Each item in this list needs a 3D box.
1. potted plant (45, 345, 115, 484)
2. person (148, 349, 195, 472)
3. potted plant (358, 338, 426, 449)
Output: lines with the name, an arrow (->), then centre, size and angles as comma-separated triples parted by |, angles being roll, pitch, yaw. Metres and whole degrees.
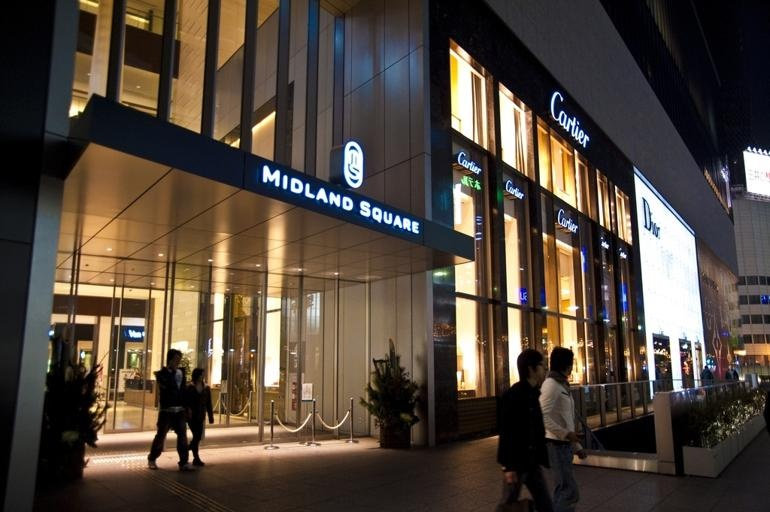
potted plant -> -7.252, 3.778, 13.592 | 1.229, 2.678, 0.706 | 0, -1, -32
person -> -5.301, 3.756, 14.520 | 0.925, 2.919, 0.751 | 0, -1, -21
potted plant -> 0.255, 4.101, 17.616 | 1.612, 3.042, 1.075 | 0, -1, 3
